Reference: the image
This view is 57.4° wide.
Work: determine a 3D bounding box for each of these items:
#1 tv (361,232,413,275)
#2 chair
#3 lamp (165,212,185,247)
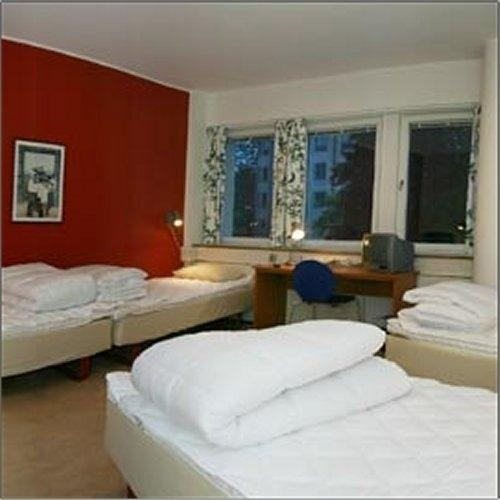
[{"bbox_3d":[0.443,0.010,1.470,0.157,0.125,0.076,2,6,15],"label":"tv"},{"bbox_3d":[0.225,0.125,1.506,0.164,0.329,0.182,-2,1,40],"label":"chair"},{"bbox_3d":[-0.281,-0.076,1.755,0.047,0.143,0.162,1,5,5],"label":"lamp"}]
